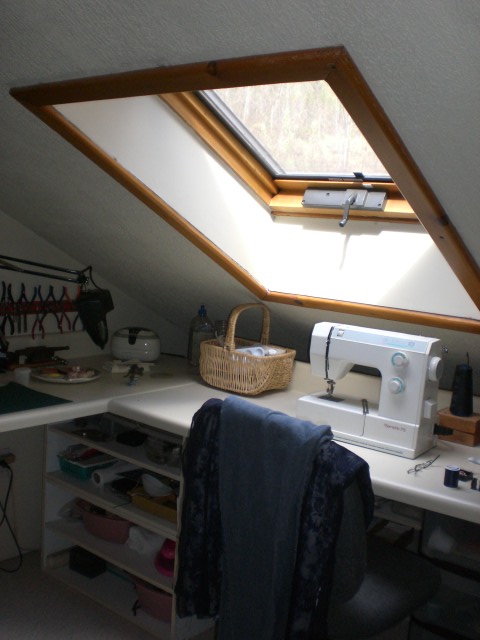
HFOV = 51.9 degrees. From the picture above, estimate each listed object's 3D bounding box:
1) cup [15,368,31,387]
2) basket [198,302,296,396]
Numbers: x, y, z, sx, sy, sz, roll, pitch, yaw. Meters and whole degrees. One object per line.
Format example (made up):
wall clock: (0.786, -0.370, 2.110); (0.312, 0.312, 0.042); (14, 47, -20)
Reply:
cup: (-0.873, 0.228, 1.990); (0.068, 0.061, 0.067); (4, 13, -1)
basket: (0.037, 0.106, 2.115); (0.240, 0.378, 0.391); (-2, 9, -42)
